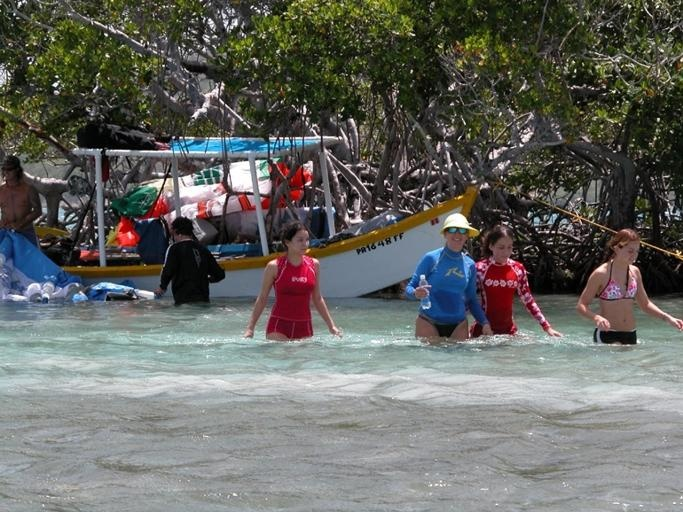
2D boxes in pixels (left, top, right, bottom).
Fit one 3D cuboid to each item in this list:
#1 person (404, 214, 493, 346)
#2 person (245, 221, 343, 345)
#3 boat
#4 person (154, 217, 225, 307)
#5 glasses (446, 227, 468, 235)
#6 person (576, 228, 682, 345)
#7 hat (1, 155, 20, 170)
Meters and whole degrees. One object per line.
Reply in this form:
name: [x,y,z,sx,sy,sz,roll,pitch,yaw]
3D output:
person: [1.160,0.259,8.129,0.905,1.403,0.838,1,6,9]
person: [-0.590,0.617,8.275,1.074,1.865,0.550,1,9,-14]
boat: [-1.467,-0.493,14.593,7.832,2.986,2.140,-1,6,12]
person: [-2.305,0.097,11.581,0.923,1.385,0.676,-1,6,-13]
glasses: [1.206,-0.268,7.957,0.218,0.066,0.115,1,5,6]
person: [2.982,0.373,7.991,0.848,1.320,0.879,2,6,22]
hat: [-5.990,-1.678,13.671,0.313,0.251,0.586,-2,5,-22]
